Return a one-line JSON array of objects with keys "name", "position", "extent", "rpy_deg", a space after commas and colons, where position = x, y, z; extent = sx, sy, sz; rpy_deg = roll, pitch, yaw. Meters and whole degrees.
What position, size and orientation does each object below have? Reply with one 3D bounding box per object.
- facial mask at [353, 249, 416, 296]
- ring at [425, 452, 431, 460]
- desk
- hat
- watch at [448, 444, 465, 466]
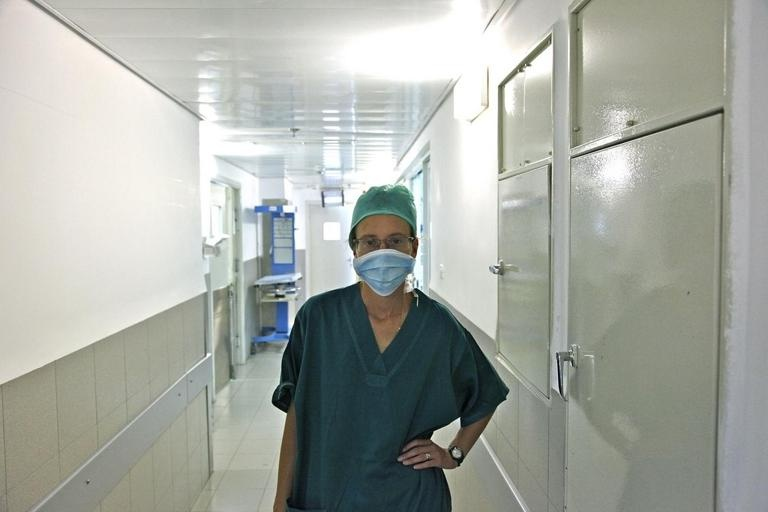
[{"name": "facial mask", "position": [0.000, 0.062, 2.107], "extent": [0.228, 0.177, 0.112], "rpy_deg": [-1, 2, -3]}, {"name": "ring", "position": [0.158, 0.726, 2.049], "extent": [0.018, 0.026, 0.006], "rpy_deg": [0, -8, -6]}, {"name": "desk", "position": [-1.424, 0.667, 7.560], "extent": [0.728, 1.173, 0.918], "rpy_deg": [0, 1, -1]}, {"name": "hat", "position": [-0.002, -0.142, 2.149], "extent": [0.145, 0.215, 0.215], "rpy_deg": [-1, 9, -13]}, {"name": "watch", "position": [0.275, 0.758, 2.157], "extent": [0.041, 0.072, 0.054], "rpy_deg": [-42, 29, -28]}]
